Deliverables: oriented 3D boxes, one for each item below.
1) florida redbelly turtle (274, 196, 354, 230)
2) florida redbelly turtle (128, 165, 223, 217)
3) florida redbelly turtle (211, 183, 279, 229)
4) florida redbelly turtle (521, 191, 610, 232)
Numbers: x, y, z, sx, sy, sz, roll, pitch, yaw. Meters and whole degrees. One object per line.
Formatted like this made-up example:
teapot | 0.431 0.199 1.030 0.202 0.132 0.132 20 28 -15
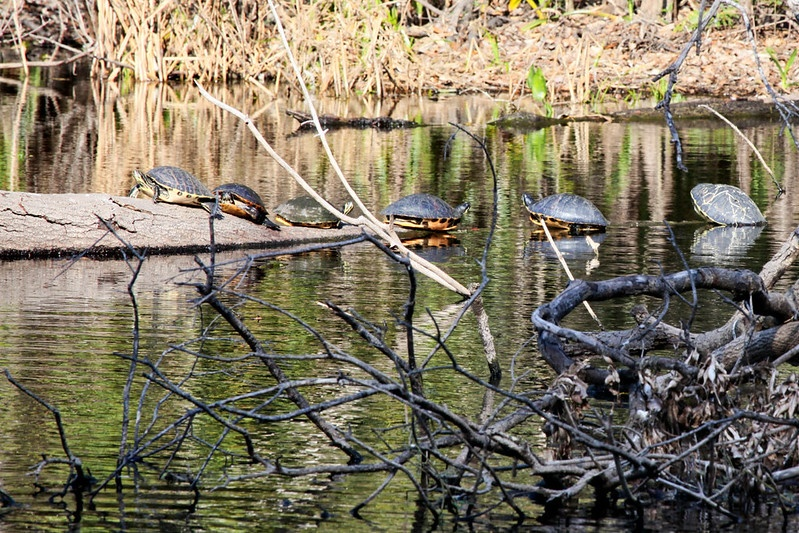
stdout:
florida redbelly turtle | -1.177 -0.768 17.473 1.216 0.286 0.889 0 21 -9
florida redbelly turtle | -2.927 -1.024 16.564 1.269 0.355 0.743 11 6 -39
florida redbelly turtle | -2.004 -0.796 16.498 0.824 0.233 0.602 17 -2 32
florida redbelly turtle | 2.245 -0.722 17.485 1.050 0.300 0.683 11 6 30
